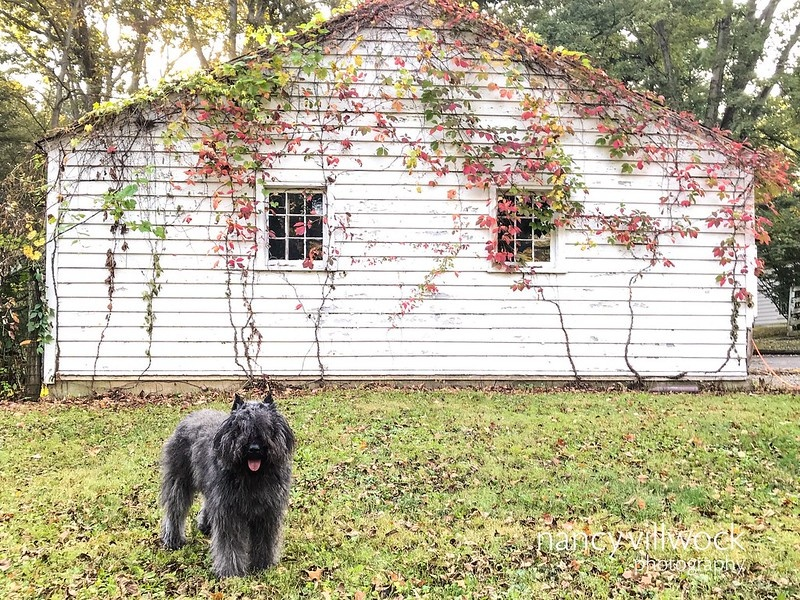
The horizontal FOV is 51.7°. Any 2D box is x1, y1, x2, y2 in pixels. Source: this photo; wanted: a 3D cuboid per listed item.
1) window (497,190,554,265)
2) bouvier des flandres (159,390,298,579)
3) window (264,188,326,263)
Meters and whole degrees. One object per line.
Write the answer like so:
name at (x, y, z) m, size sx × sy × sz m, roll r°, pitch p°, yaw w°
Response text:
window at (2.354, -1.415, 15.740) m, size 1.271 × 1.692 × 0.064 m, roll -2°, pitch 13°, yaw -9°
bouvier des flandres at (-2.351, 2.465, 11.146) m, size 0.996 × 2.285 × 2.667 m, roll -2°, pitch 3°, yaw -38°
window at (-2.004, -1.418, 15.539) m, size 1.267 × 1.701 × 0.105 m, roll 0°, pitch -4°, yaw -3°
